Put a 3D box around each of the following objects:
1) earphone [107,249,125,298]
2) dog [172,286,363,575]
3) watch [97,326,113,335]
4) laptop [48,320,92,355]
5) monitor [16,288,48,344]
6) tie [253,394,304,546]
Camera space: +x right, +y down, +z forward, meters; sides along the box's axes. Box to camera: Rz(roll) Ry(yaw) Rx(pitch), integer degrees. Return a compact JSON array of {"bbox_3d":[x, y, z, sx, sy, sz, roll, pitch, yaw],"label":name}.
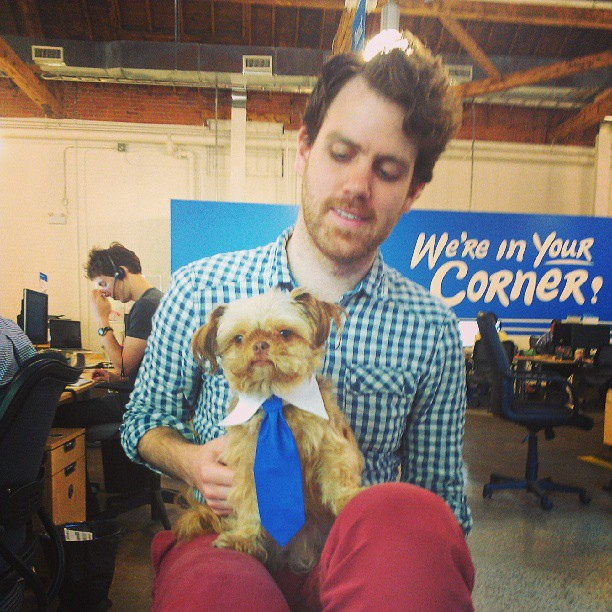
[{"bbox_3d":[-1.006,-0.179,3.341,0.026,0.127,0.110,-19,-26,4],"label":"earphone"},{"bbox_3d":[-0.092,0.296,1.922,0.481,0.978,0.516,2,18,8],"label":"dog"},{"bbox_3d":[-1.073,0.130,3.401,0.069,0.060,0.067,-8,-22,44],"label":"watch"},{"bbox_3d":[-1.767,0.216,4.737,0.236,0.294,0.352,1,-4,25],"label":"laptop"},{"bbox_3d":[-1.601,0.064,3.708,0.075,0.313,0.262,0,-3,3],"label":"monitor"},{"bbox_3d":[-0.079,0.465,1.820,0.142,0.418,0.055,1,9,-5],"label":"tie"}]
